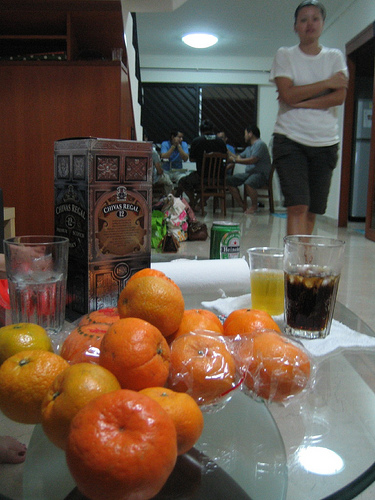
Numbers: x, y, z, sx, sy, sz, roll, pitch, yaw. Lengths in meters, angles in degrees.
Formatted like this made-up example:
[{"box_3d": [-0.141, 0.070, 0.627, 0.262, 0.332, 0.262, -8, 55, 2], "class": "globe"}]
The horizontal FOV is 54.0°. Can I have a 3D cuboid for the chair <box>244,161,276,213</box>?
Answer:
[{"box_3d": [1.422, -1.358, 7.144, 0.578, 1.022, 0.593, 1, 28, 6], "class": "chair"}]

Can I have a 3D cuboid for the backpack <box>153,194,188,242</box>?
[{"box_3d": [-0.114, -0.311, 3.500, 0.226, 0.474, 0.348, -1, 9, 13], "class": "backpack"}]

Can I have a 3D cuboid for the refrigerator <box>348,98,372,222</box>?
[{"box_3d": [2.612, -1.376, 5.550, 0.257, 1.898, 0.603, 5, 5, 24], "class": "refrigerator"}]

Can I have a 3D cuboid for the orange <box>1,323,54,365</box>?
[{"box_3d": [-0.184, 0.099, 0.413, 0.038, 0.040, 0.039, -4, 0, -29], "class": "orange"}]

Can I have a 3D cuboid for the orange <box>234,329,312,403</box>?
[{"box_3d": [0.094, 0.125, 0.405, 0.061, 0.043, 0.073, 8, 17, -11], "class": "orange"}]

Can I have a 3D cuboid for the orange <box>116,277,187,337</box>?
[{"box_3d": [-0.043, 0.072, 0.500, 0.070, 0.070, 0.074, 31, -32, -30], "class": "orange"}]

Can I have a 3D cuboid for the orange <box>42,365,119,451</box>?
[{"box_3d": [-0.091, 0.110, 0.293, 0.054, 0.057, 0.057, 9, 26, -30], "class": "orange"}]

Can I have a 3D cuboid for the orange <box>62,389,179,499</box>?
[{"box_3d": [-0.047, 0.106, 0.250, 0.062, 0.067, 0.065, -1, 23, -19], "class": "orange"}]

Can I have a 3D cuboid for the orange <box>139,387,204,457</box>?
[{"box_3d": [-0.017, 0.125, 0.305, 0.049, 0.054, 0.050, -3, -1, -34], "class": "orange"}]

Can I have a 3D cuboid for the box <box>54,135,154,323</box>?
[{"box_3d": [-0.168, -0.036, 0.742, 0.212, 0.385, 0.221, 1, 5, -16], "class": "box"}]

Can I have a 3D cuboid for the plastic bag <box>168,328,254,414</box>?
[{"box_3d": [0.013, 0.137, 0.402, 0.097, 0.062, 0.104, 8, 20, 2], "class": "plastic bag"}]

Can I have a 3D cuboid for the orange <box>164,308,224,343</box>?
[{"box_3d": [0.017, 0.094, 0.499, 0.047, 0.048, 0.048, 3, -5, -38], "class": "orange"}]

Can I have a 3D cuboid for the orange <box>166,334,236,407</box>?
[{"box_3d": [0.015, 0.115, 0.384, 0.059, 0.034, 0.060, 23, 36, 33], "class": "orange"}]

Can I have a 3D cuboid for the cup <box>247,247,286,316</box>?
[{"box_3d": [0.175, 0.062, 0.807, 0.088, 0.148, 0.100, -11, 14, -15], "class": "cup"}]

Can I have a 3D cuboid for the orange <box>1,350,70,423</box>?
[{"box_3d": [-0.137, 0.110, 0.336, 0.052, 0.042, 0.054, -8, 16, -34], "class": "orange"}]

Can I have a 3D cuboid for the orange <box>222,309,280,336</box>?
[{"box_3d": [0.080, 0.093, 0.532, 0.048, 0.047, 0.050, -2, 2, 19], "class": "orange"}]

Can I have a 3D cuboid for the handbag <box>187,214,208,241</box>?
[{"box_3d": [0.091, -0.207, 3.679, 0.233, 0.254, 0.181, 0, 8, -6], "class": "handbag"}]

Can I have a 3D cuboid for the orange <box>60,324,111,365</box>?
[{"box_3d": [-0.118, 0.102, 0.431, 0.041, 0.041, 0.044, 4, 5, 9], "class": "orange"}]
